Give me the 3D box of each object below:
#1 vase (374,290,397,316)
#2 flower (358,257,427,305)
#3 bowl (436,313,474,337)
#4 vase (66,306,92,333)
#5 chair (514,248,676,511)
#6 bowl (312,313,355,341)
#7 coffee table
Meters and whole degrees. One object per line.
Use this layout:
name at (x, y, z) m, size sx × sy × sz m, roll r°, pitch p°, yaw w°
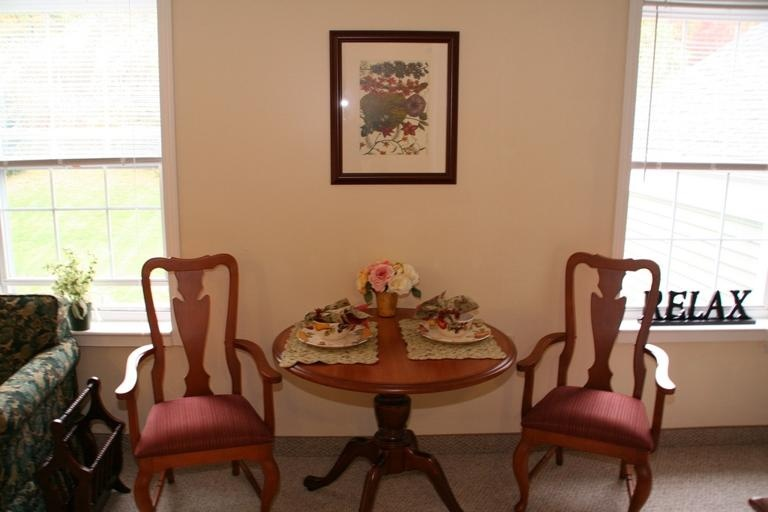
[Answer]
vase at (0.019, 0.295, 3.599) m, size 0.148 × 0.107 × 0.144 m, roll 0°, pitch 2°, yaw 3°
flower at (0.043, 0.157, 3.631) m, size 0.410 × 0.248 × 0.390 m, roll -1°, pitch 20°, yaw -30°
bowl at (0.408, 0.396, 3.333) m, size 0.151 × 0.066 × 0.122 m, roll -2°, pitch 8°, yaw -24°
vase at (-1.964, 0.411, 3.753) m, size 0.152 × 0.159 × 0.152 m, roll 1°, pitch 4°, yaw 1°
chair at (1.281, 0.742, 3.493) m, size 0.819 × 1.475 × 0.922 m, roll 6°, pitch 14°, yaw 25°
bowl at (-0.270, 0.410, 3.255) m, size 0.308 × 0.144 × 0.208 m, roll -1°, pitch 12°, yaw -2°
coffee table at (0.169, 0.825, 3.549) m, size 1.233 × 0.786 × 1.198 m, roll 0°, pitch 6°, yaw 4°
